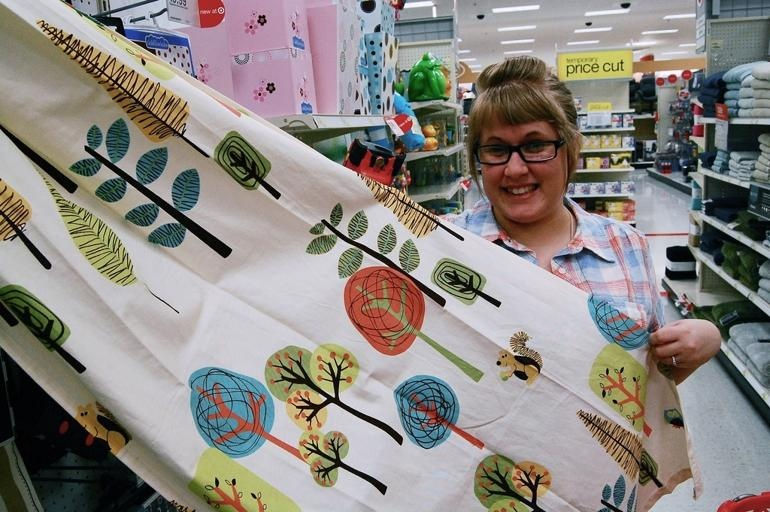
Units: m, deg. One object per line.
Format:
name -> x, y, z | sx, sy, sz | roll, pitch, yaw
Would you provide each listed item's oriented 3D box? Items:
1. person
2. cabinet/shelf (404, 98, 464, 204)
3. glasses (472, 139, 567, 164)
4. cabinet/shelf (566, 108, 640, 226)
person -> 0.592, -0.229, 2.232 | 0.737, 0.948, 0.352 | 1, 18, 28
cabinet/shelf -> 0.459, -0.911, 5.864 | 0.253, 0.698, 0.692 | -5, 15, 29
glasses -> 0.470, -0.357, 2.147 | 0.294, 0.082, 0.069 | -6, 17, 10
cabinet/shelf -> 3.489, -1.576, 9.330 | 0.464, 1.403, 1.317 | -15, 20, -17
